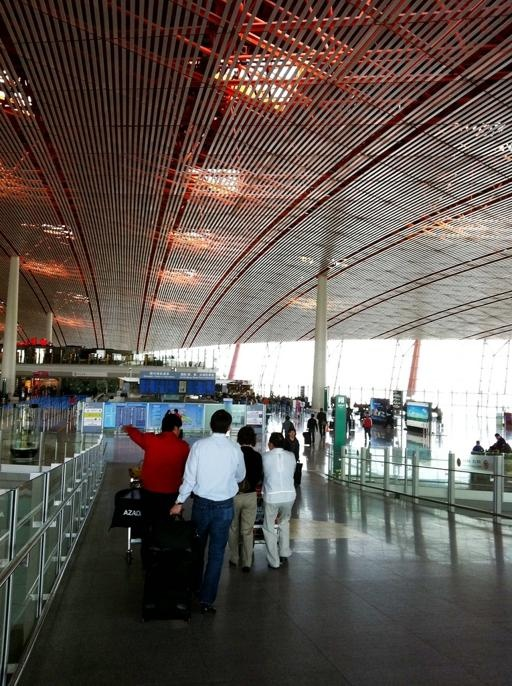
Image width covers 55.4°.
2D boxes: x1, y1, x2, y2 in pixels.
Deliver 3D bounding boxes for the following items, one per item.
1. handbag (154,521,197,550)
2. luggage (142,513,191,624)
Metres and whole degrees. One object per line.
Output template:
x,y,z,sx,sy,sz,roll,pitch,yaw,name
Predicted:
-0.549,1.230,3.288,0.322,0.228,0.176,2,0,-2,handbag
-0.578,1.536,3.337,0.411,0.559,0.392,2,-5,-41,luggage
